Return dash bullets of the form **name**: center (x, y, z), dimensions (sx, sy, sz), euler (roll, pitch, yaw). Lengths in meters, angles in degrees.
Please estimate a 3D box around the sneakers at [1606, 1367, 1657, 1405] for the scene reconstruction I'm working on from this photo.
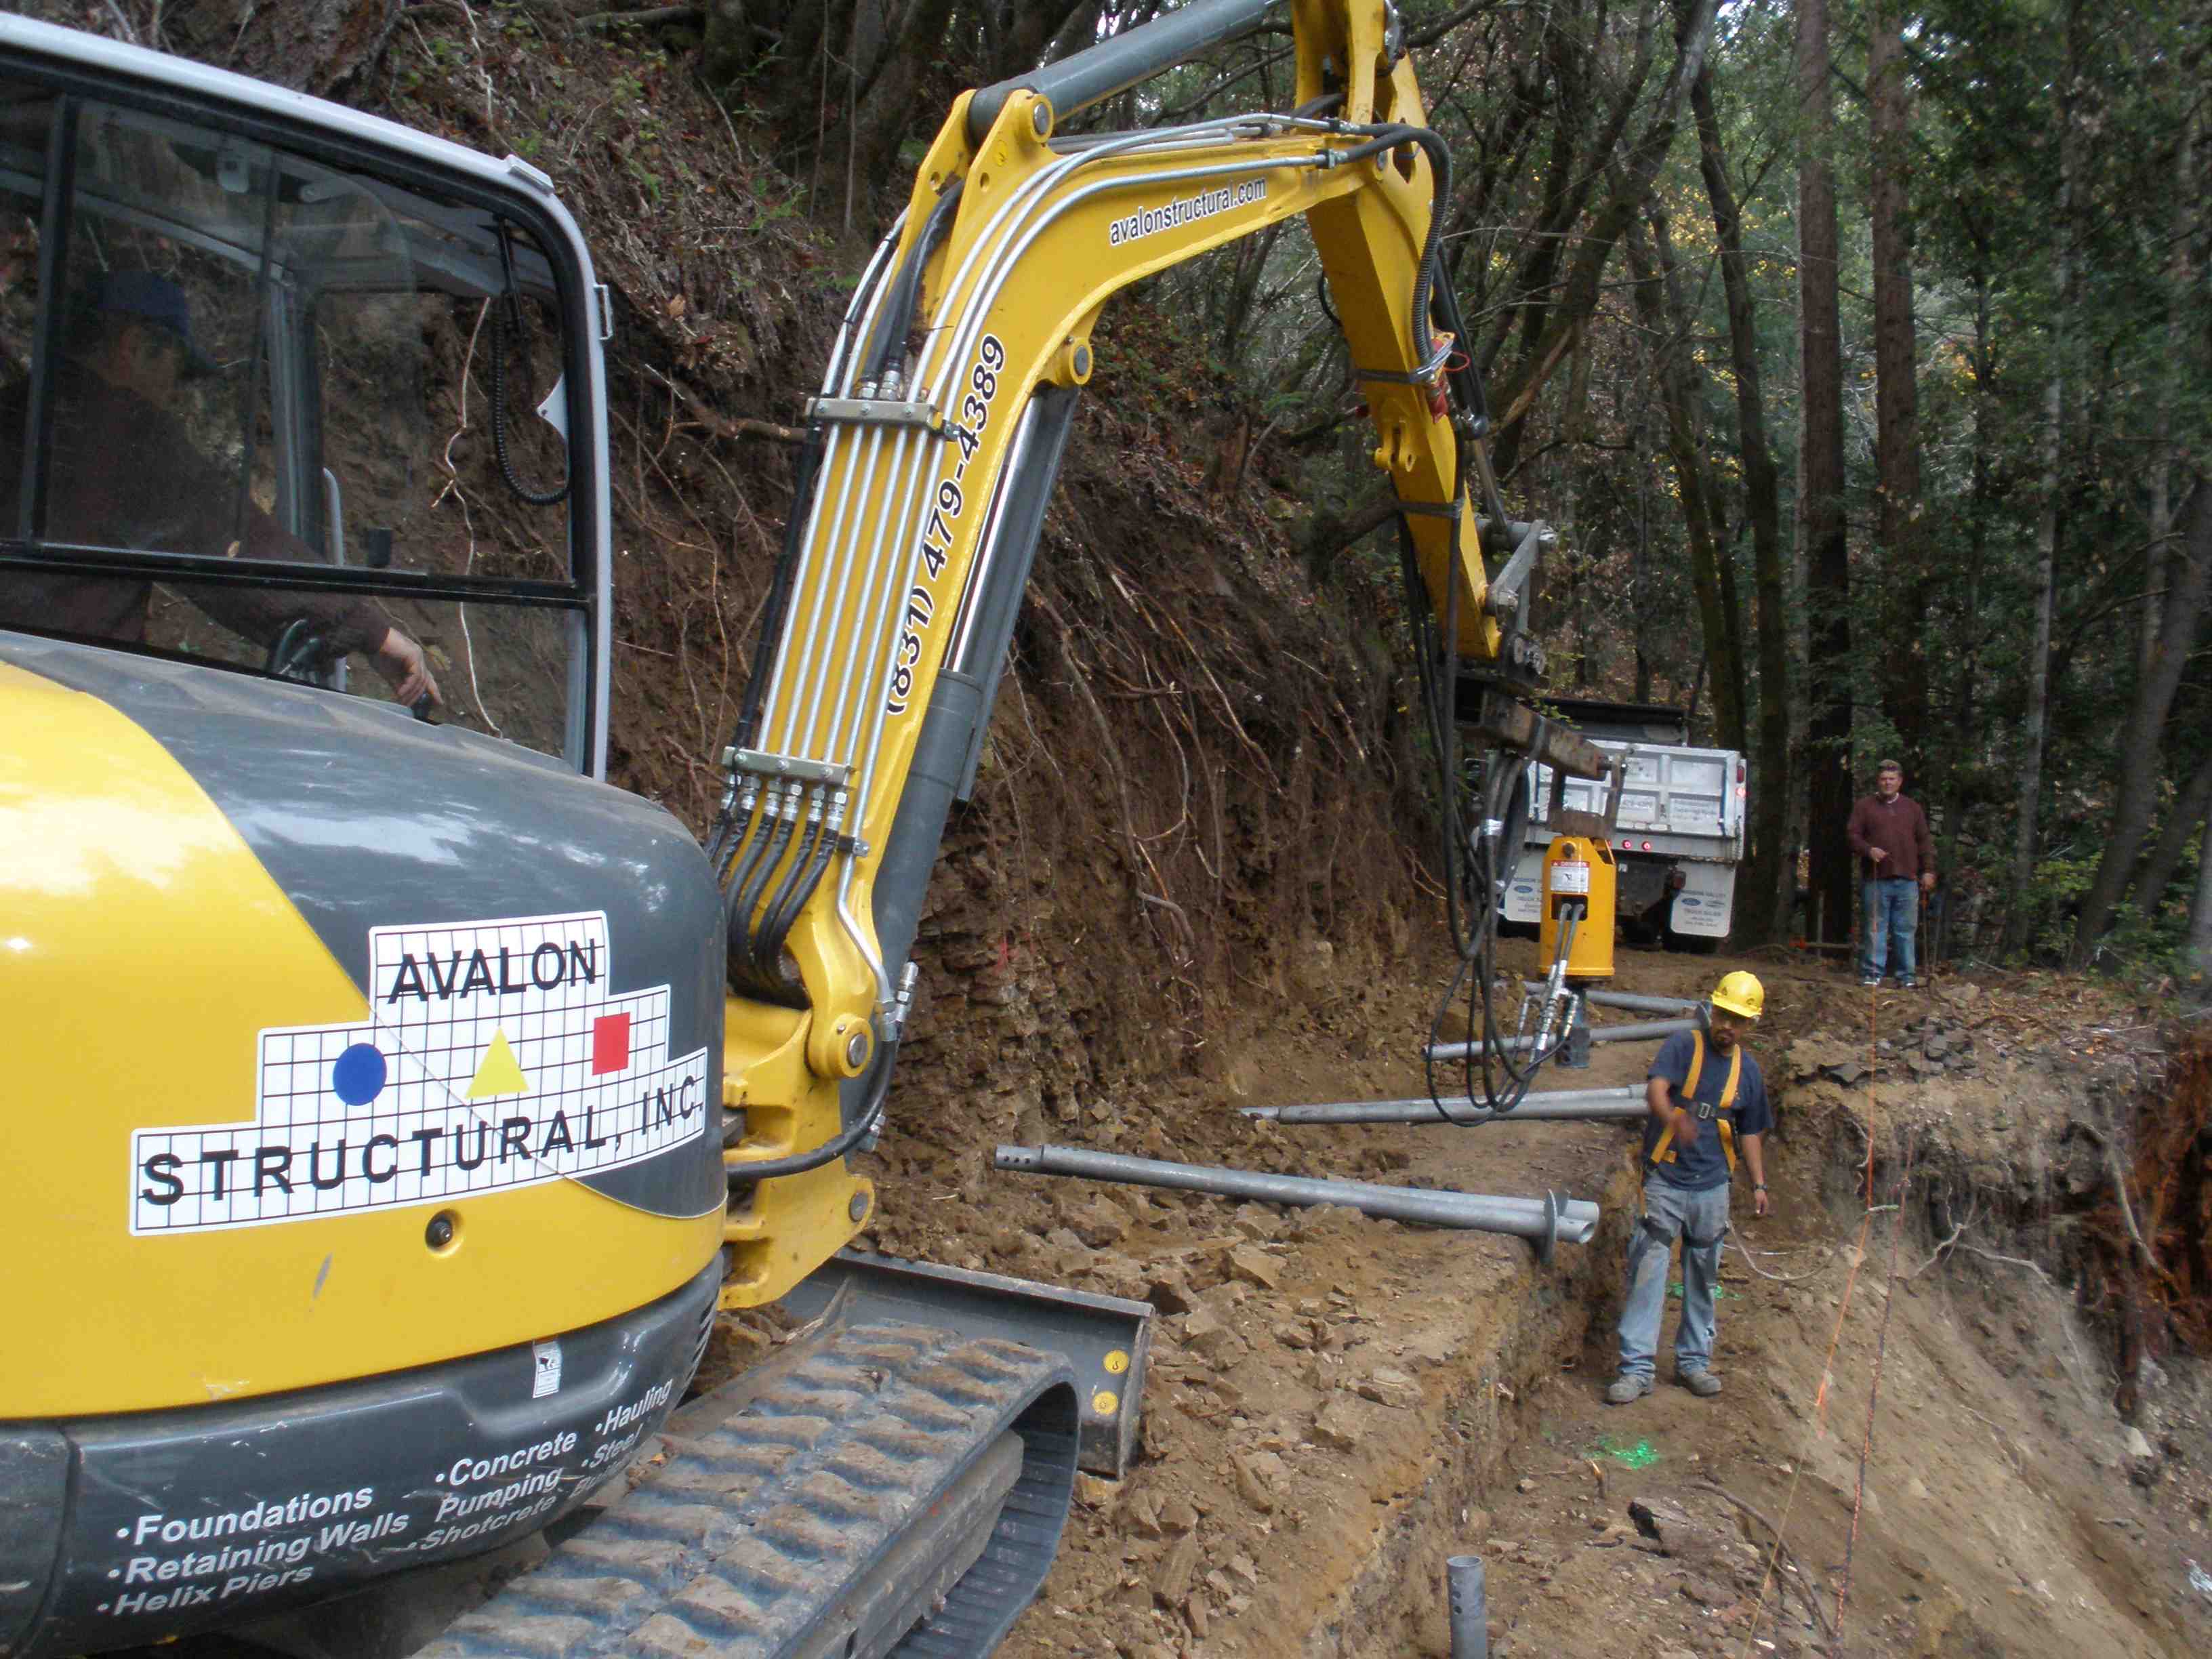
- **sneakers**: center (2.282, 2.441, 9.013), dimensions (0.107, 0.112, 0.244), euler (-17, -26, 32)

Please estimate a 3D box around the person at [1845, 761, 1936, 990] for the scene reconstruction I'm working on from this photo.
- **person**: center (5.925, 0.340, 15.676), dimensions (0.568, 1.564, 1.314), euler (4, -1, 22)

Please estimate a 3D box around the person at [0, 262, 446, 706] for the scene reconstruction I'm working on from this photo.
- **person**: center (-2.127, -0.858, 4.859), dimensions (0.917, 1.037, 0.244), euler (6, -1, -44)
